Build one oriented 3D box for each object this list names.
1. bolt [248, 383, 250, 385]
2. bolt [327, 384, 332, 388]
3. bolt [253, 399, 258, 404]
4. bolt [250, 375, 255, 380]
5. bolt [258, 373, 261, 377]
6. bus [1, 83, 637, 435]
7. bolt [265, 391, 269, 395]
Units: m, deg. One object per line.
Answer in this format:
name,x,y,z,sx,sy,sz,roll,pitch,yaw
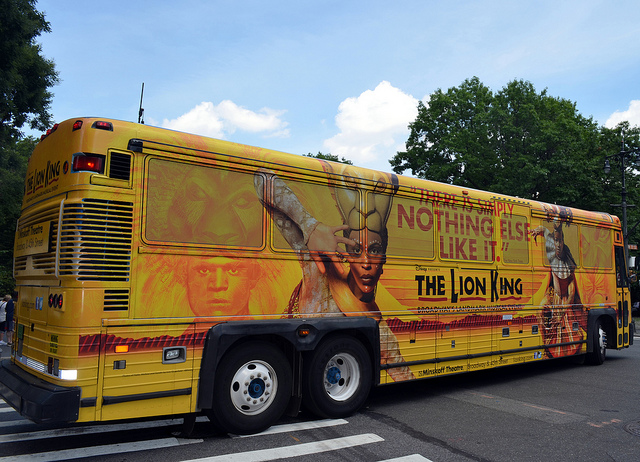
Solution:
bolt,-1.075,2.288,7.644,0.030,0.027,0.021,0,-1,10
bolt,0.152,2.563,8.463,0.079,0.056,0.059,5,-4,-3
bolt,-0.983,2.576,7.700,0.064,0.073,0.022,2,-2,-42
bolt,-1.024,2.199,7.672,0.057,0.070,0.014,0,-7,-26
bolt,-0.922,2.180,7.732,0.041,0.057,0.001,1,-2,-30
bus,2.452,0.533,12.954,17.627,6.068,4.681,3,-6,-36
bolt,-0.817,2.466,7.787,0.055,0.068,0.014,1,-6,-29
